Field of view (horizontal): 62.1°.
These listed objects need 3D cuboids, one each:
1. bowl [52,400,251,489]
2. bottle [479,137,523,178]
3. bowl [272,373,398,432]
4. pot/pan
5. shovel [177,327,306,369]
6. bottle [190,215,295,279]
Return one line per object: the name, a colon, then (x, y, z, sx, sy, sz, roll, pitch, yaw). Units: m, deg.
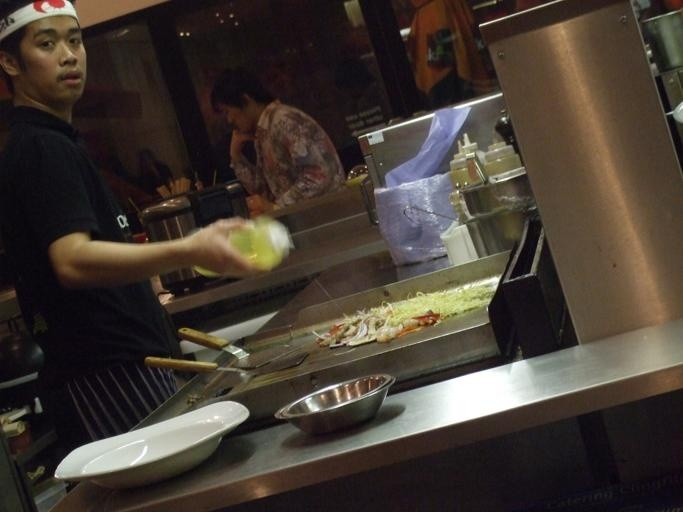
bowl: (-0.374, 0.309, 1.082, 0.253, 0.053, 0.211, -23, 7, -12)
bottle: (0.555, -0.349, 1.957, 0.128, 0.097, 0.132, -10, 11, 2)
bowl: (-0.005, 0.281, 1.063, 0.230, 0.053, 0.122, -15, 11, 2)
pot/pan: (-0.878, -0.120, 3.697, 0.660, 0.589, 0.679, -20, 7, 5)
shovel: (-0.253, 0.243, 1.442, 0.248, 0.028, 0.139, 1, 12, 28)
bottle: (-0.193, -0.029, 1.391, 0.090, 0.086, 0.220, -12, 12, 17)
